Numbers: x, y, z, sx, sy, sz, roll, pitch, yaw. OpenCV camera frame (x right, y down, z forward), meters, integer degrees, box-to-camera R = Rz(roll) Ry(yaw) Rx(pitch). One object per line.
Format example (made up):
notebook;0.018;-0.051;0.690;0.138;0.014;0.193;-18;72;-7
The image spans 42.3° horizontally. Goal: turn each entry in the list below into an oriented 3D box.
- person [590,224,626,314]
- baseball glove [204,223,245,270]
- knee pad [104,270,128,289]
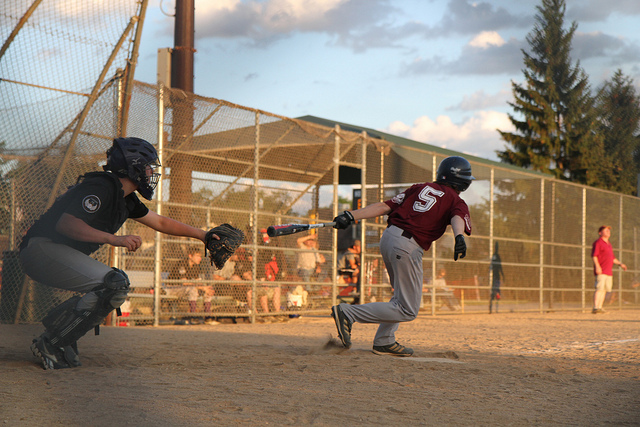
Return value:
person;6.785;1.388;19.701;0.602;2.172;0.894;5;4;24
baseball glove;-1.253;0.380;10.791;0.395;0.738;0.334;9;0;-17
knee pad;-2.620;0.845;10.710;0.250;0.230;0.190;-17;16;3
